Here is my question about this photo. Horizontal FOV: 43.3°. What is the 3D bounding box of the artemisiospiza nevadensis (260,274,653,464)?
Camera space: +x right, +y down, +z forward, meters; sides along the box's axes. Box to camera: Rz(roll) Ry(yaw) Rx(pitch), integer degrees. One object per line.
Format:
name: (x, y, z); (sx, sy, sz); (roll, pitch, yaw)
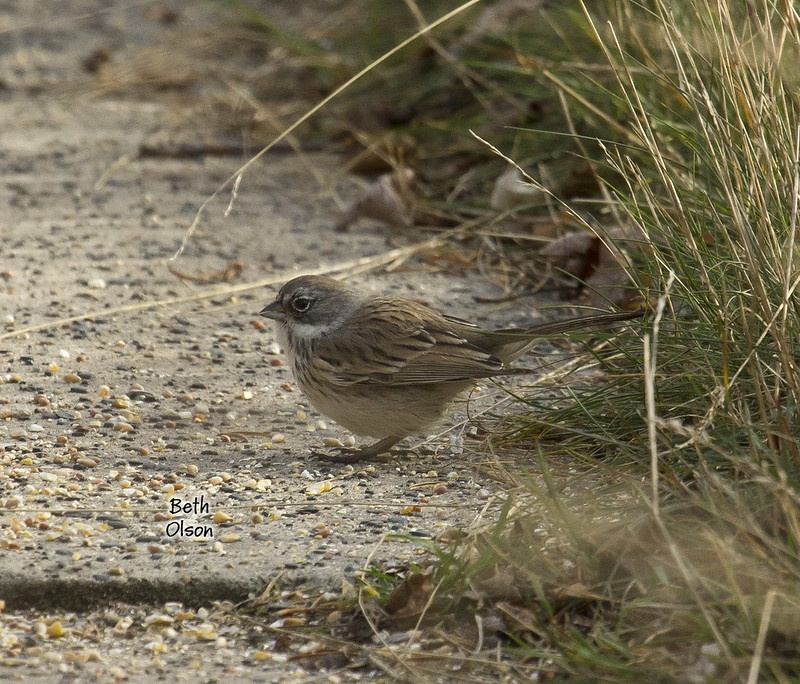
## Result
artemisiospiza nevadensis: (0.030, 0.119, 5.150); (1.285, 0.811, 1.253); (-22, 33, -16)
